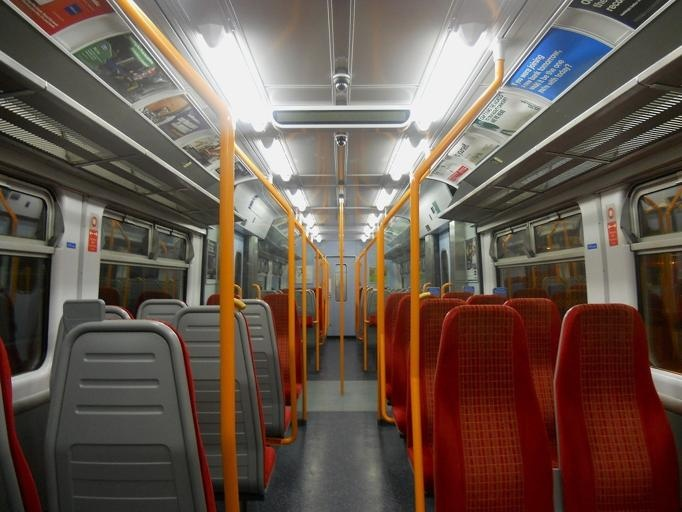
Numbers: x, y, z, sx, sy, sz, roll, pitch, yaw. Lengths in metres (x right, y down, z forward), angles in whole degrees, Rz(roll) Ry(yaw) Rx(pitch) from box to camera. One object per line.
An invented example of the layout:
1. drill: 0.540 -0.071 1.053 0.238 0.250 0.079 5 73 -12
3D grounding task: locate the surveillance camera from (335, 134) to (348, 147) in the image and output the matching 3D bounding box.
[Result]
1. surveillance camera: 0.008 -1.279 4.674 0.113 0.091 0.114 -8 10 -16

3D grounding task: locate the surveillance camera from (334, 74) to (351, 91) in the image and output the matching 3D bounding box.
1. surveillance camera: 0.005 -1.530 3.723 0.105 0.066 0.108 3 -3 15
